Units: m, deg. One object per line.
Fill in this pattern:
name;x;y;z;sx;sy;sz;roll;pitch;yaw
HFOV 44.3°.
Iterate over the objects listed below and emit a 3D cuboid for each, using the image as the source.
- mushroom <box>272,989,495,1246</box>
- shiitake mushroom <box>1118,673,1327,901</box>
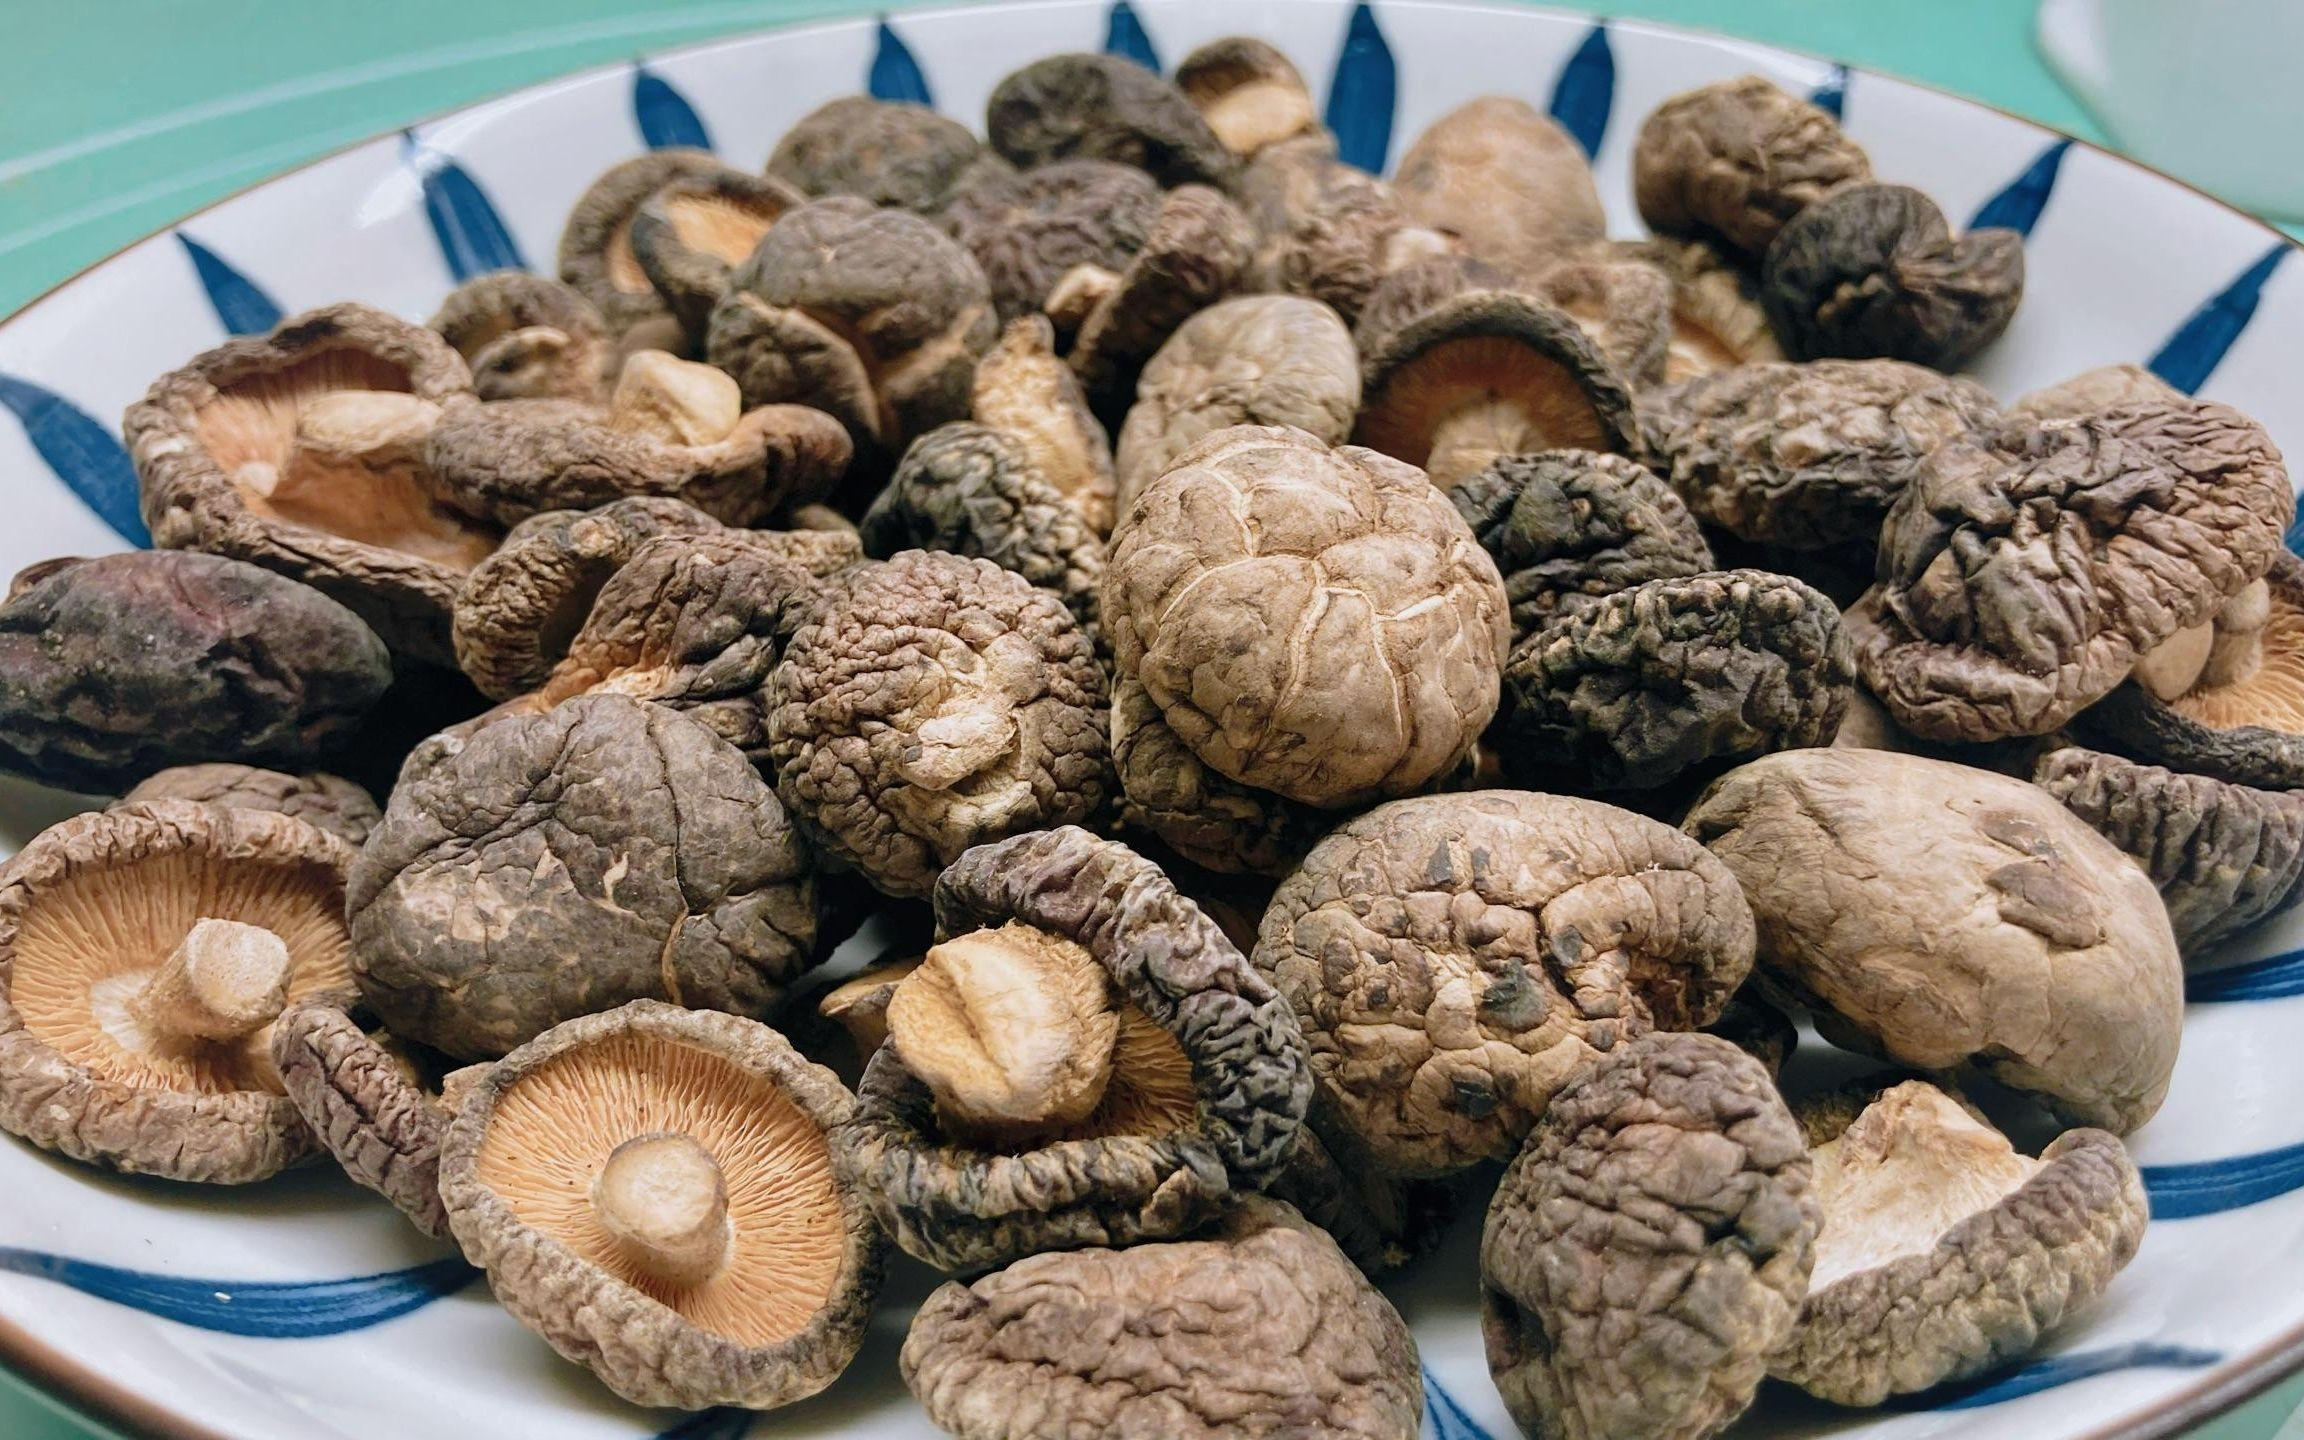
mushroom;-1.581;0.762;5.617;0.158;0.370;0.474;-34;74;0
shiitake mushroom;0.117;0.126;5.811;0.432;0.362;0.174;13;49;11
